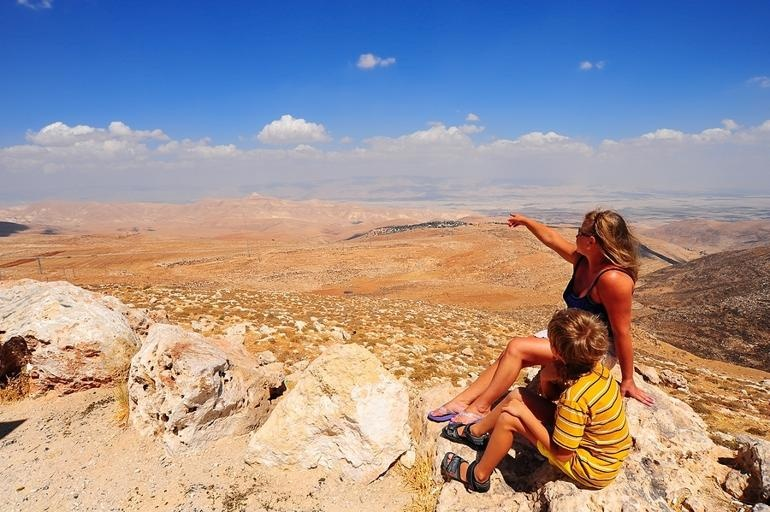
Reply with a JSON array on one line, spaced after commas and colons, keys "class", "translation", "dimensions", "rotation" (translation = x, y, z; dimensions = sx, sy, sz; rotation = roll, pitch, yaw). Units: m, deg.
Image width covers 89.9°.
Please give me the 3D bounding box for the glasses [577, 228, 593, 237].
[{"class": "glasses", "translation": [3.277, -0.377, 6.426], "dimensions": [0.219, 0.055, 0.193], "rotation": [9, 12, -1]}]
